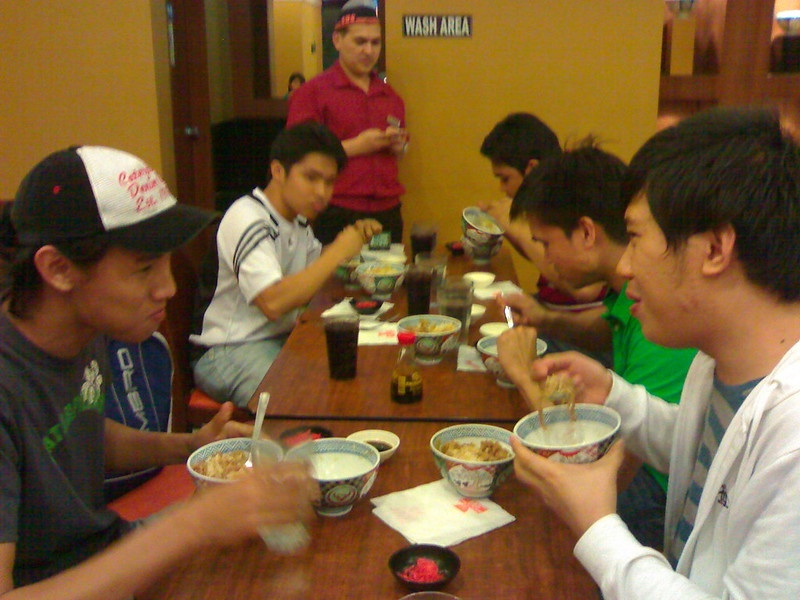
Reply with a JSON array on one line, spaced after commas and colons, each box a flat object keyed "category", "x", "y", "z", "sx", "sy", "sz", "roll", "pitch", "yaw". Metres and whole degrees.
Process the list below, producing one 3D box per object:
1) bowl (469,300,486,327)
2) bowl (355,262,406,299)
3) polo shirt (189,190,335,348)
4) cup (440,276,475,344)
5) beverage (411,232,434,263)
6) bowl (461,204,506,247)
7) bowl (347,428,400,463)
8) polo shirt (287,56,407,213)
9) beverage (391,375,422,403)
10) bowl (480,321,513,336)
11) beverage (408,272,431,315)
[{"category": "bowl", "x": 0.257, "y": 0.043, "z": 2.183, "sx": 0.056, "sy": 0.043, "sz": 0.058, "roll": -1, "pitch": 10, "yaw": 0}, {"category": "bowl", "x": -0.078, "y": -0.088, "z": 2.391, "sx": 0.140, "sy": 0.091, "sz": 0.146, "roll": 0, "pitch": 13, "yaw": 0}, {"category": "polo shirt", "x": -0.484, "y": -0.139, "z": 2.456, "sx": 0.410, "sy": 0.577, "sz": 0.466, "roll": 3, "pitch": 19, "yaw": 4}, {"category": "cup", "x": 0.170, "y": 0.039, "z": 1.991, "sx": 0.116, "sy": 0.197, "sz": 0.121, "roll": -2, "pitch": 21, "yaw": 1}, {"category": "beverage", "x": 0.090, "y": -0.219, "z": 2.676, "sx": 0.113, "sy": 0.186, "sz": 0.120, "roll": 2, "pitch": 25, "yaw": 1}, {"category": "bowl", "x": 0.350, "y": -0.312, "z": 2.843, "sx": 0.160, "sy": 0.105, "sz": 0.164, "roll": 25, "pitch": 28, "yaw": -14}, {"category": "bowl", "x": -0.049, "y": 0.310, "z": 1.431, "sx": 0.065, "sy": 0.027, "sz": 0.068, "roll": 2, "pitch": 18, "yaw": -1}, {"category": "polo shirt", "x": -0.186, "y": -0.775, "z": 3.131, "sx": 0.426, "sy": 0.764, "sz": 0.592, "roll": -15, "pitch": 25, "yaw": -43}, {"category": "beverage", "x": 0.015, "y": 0.220, "z": 1.617, "sx": 0.067, "sy": 0.072, "sz": 0.068, "roll": -1, "pitch": 1, "yaw": -5}, {"category": "bowl", "x": 0.292, "y": 0.090, "z": 2.040, "sx": 0.050, "sy": 0.022, "sz": 0.050, "roll": 0, "pitch": 13, "yaw": 0}, {"category": "beverage", "x": 0.061, "y": -0.026, "z": 2.191, "sx": 0.084, "sy": 0.139, "sz": 0.089, "roll": 7, "pitch": 24, "yaw": 19}]
